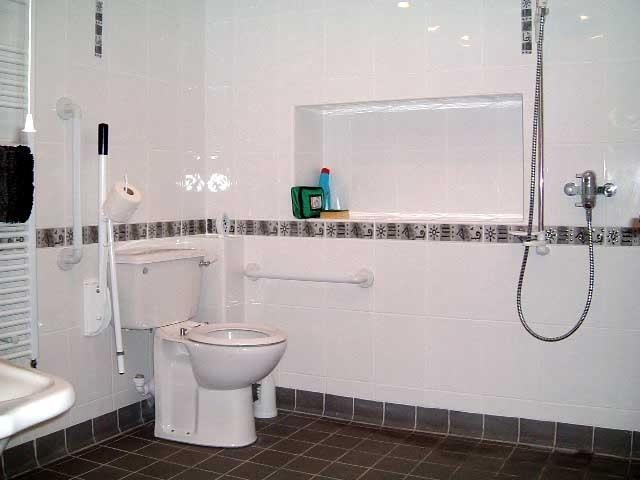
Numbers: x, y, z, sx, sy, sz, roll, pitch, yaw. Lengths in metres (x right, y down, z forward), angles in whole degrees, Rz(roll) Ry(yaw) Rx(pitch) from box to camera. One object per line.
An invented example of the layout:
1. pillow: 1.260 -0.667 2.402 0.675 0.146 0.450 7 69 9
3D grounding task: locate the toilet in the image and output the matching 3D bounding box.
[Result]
1. toilet: -0.643 0.591 2.880 0.941 1.067 0.705 1 -1 20

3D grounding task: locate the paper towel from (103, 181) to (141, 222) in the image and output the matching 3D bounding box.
1. paper towel: -1.021 -0.187 2.567 0.164 0.158 0.149 4 32 -51

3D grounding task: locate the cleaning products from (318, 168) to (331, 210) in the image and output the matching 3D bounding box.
1. cleaning products: 0.021 -0.345 3.353 0.073 0.276 0.148 0 6 13
